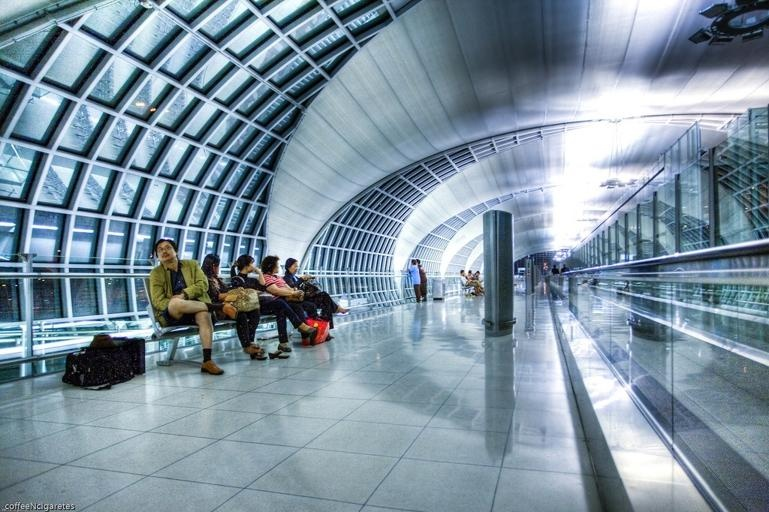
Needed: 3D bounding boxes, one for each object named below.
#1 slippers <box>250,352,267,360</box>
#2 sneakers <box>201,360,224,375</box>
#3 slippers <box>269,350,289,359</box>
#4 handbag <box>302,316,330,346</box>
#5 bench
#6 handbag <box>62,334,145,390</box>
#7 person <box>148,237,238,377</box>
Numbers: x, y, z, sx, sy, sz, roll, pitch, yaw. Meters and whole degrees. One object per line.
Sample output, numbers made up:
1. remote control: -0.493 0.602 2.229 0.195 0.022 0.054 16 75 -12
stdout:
1. slippers: -2.048 1.611 6.503 0.297 0.097 0.102 -2 1 9
2. sneakers: -2.431 1.549 5.619 0.403 0.141 0.150 -3 -3 30
3. slippers: -1.786 1.601 6.576 0.414 0.131 0.135 1 -5 -8
4. handbag: -1.305 1.472 7.881 0.564 0.390 0.518 -2 0 18
5. bench: -2.536 1.102 6.029 1.995 0.979 0.758 -3 -5 9
6. handbag: -3.529 1.320 5.250 0.656 0.531 0.918 4 5 37
7. person: -2.922 0.696 5.927 1.064 1.978 0.497 -9 -5 13
